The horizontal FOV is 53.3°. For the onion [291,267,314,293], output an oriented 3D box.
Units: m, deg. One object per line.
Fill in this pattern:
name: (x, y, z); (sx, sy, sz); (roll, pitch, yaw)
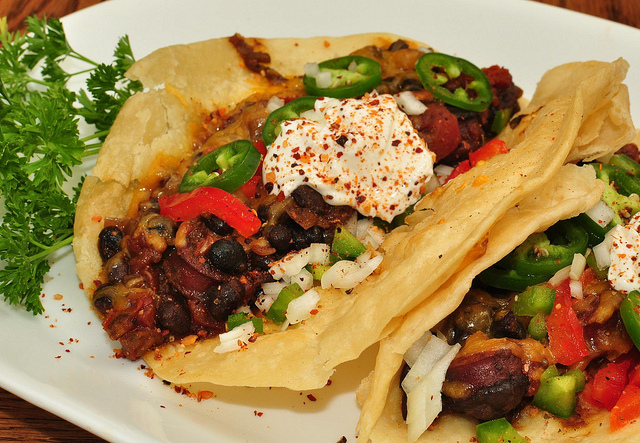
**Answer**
onion: (-0.121, 0.434, 4.804); (0.156, 0.152, 0.153); (-21, 84, 17)

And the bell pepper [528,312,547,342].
bell pepper: (1.516, 0.732, 4.440); (0.145, 0.056, 0.180); (-9, 88, -8)

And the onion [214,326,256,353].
onion: (-0.624, 0.872, 4.722); (0.303, 0.078, 0.115); (-28, 82, -10)

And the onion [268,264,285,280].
onion: (-0.318, 0.376, 4.834); (0.110, 0.100, 0.103); (-23, 88, -26)

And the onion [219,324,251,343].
onion: (-0.624, 0.817, 4.742); (0.292, 0.088, 0.089); (-16, 60, -4)

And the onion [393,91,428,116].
onion: (0.727, -0.923, 5.112); (0.212, 0.066, 0.202); (-5, 48, -32)

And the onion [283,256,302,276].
onion: (-0.197, 0.333, 4.757); (0.120, 0.119, 0.121); (56, 45, -10)

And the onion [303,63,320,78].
onion: (-0.066, -1.249, 5.390); (0.119, 0.103, 0.116); (-38, 31, -21)

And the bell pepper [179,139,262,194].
bell pepper: (-0.785, -0.368, 4.974); (0.149, 0.545, 0.416); (50, 50, -17)

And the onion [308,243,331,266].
onion: (-0.002, 0.249, 4.826); (0.165, 0.046, 0.152); (0, 95, -19)

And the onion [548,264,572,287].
onion: (1.718, 0.384, 4.591); (0.219, 0.057, 0.067); (-37, 108, -5)

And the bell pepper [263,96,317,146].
bell pepper: (-0.244, -0.784, 5.219); (0.293, 0.100, 0.474); (39, 75, 25)

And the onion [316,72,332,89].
onion: (0.033, -1.153, 5.286); (0.125, 0.129, 0.129); (-2, 95, -34)

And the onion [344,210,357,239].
onion: (0.248, 0.030, 4.932); (0.107, 0.040, 0.172); (-18, 102, -34)

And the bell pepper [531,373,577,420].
bell pepper: (1.604, 1.177, 4.445); (0.299, 0.444, 0.260); (-3, 93, 23)

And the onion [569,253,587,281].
onion: (1.849, 0.323, 4.585); (0.109, 0.070, 0.179); (13, 79, 33)
